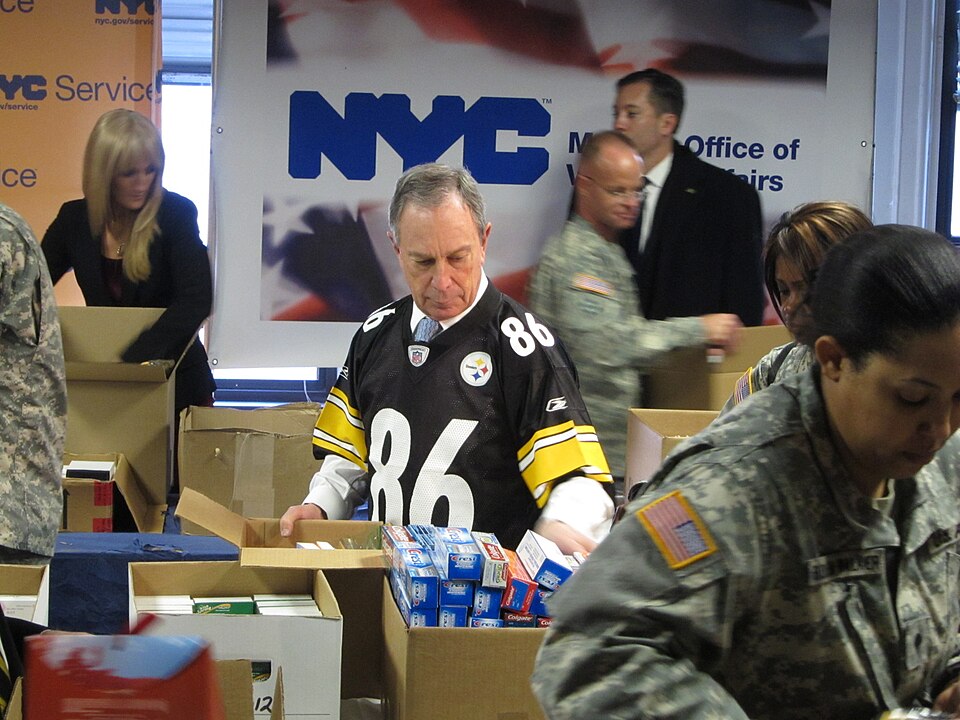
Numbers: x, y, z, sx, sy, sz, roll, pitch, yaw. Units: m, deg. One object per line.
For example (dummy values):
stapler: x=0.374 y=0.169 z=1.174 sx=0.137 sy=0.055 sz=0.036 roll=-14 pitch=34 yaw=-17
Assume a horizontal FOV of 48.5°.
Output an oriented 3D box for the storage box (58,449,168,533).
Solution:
storage box: x=-1.396 y=0.490 z=4.059 sx=0.308 sy=0.209 sz=0.316 roll=3 pitch=9 yaw=-8

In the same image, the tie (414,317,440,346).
tie: x=-0.132 y=-0.071 z=2.658 sx=0.054 sy=0.073 sz=0.022 roll=23 pitch=1 yaw=28

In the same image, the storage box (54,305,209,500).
storage box: x=-1.295 y=0.069 z=4.441 sx=0.598 sy=0.868 sz=0.831 roll=1 pitch=6 yaw=3

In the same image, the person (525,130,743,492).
person: x=0.507 y=0.041 z=3.816 sx=0.628 sy=1.670 sz=0.604 roll=-6 pitch=25 yaw=-8

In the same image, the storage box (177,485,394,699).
storage box: x=-0.433 y=0.534 z=2.574 sx=0.588 sy=0.423 sz=0.337 roll=-1 pitch=6 yaw=-4

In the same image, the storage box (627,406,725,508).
storage box: x=0.510 y=0.270 z=2.977 sx=0.173 sy=0.299 sz=0.284 roll=-2 pitch=13 yaw=-2

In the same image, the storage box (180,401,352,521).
storage box: x=-0.977 y=0.438 z=4.587 sx=0.720 sy=0.372 sz=0.699 roll=-1 pitch=14 yaw=-38
